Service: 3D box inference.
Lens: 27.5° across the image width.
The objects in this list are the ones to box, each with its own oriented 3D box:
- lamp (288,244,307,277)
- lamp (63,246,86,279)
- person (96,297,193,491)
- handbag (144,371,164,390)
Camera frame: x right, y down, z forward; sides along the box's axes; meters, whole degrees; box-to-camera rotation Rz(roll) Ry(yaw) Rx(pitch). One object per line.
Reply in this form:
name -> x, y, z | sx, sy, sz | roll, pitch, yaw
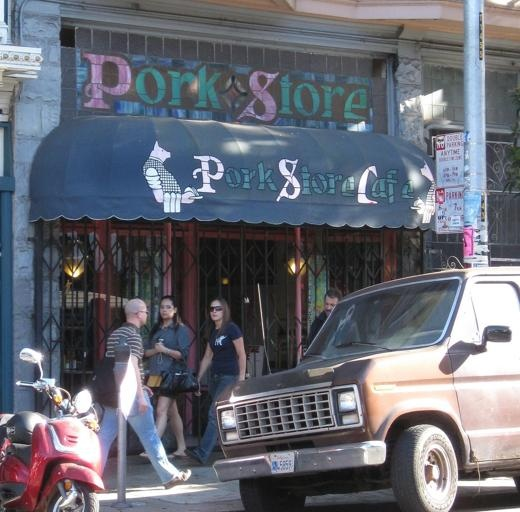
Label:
lamp -> 0.519, 0.102, 15.437 | 0.220, 0.356, 0.124 | 0, 8, -11
lamp -> -2.463, 0.071, 14.218 | 0.342, 0.612, 0.344 | -1, 3, -9
person -> -1.223, 1.438, 10.763 | 0.828, 1.980, 0.743 | -2, 1, -10
handbag -> -1.321, 1.577, 13.320 | 0.223, 0.326, 0.169 | 1, -19, 0
